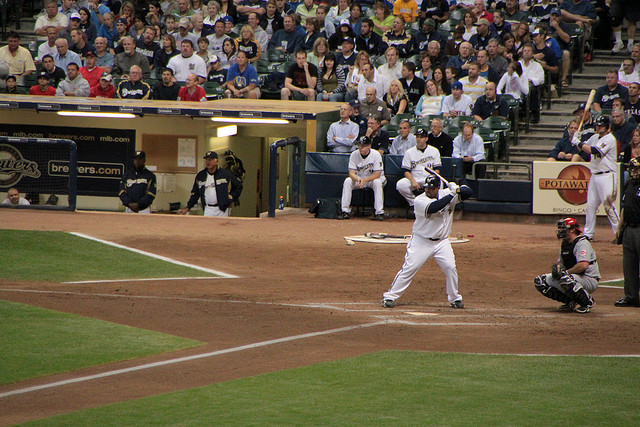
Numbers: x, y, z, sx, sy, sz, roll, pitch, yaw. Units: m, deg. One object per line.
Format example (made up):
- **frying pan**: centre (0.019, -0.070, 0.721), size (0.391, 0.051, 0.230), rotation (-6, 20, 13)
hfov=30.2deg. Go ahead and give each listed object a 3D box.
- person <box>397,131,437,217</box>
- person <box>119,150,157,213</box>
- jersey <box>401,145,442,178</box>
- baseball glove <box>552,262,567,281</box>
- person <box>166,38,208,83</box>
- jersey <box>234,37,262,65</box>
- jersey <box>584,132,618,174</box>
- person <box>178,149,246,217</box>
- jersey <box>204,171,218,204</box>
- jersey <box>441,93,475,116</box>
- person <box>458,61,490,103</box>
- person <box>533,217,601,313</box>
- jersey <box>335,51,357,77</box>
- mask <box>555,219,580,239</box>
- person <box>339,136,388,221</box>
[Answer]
- **person**: centre (2.507, -1.014, 29.267), size (1.180, 1.945, 1.062), rotation (1, 17, 11)
- **person**: centre (-4.582, -0.790, 29.937), size (0.861, 1.511, 0.371), rotation (2, 3, -4)
- **jersey**: centre (2.569, -1.280, 29.354), size (1.070, 0.790, 0.407), rotation (-1, 13, 12)
- **baseball glove**: centre (4.725, 1.160, 23.420), size (0.311, 0.288, 0.241), rotation (-23, 27, 16)
- **person**: centre (-3.709, -4.248, 33.259), size (0.765, 1.200, 1.219), rotation (4, 3, 42)
- **jersey**: centre (-2.071, -4.666, 34.530), size (0.968, 0.836, 0.471), rotation (10, 31, 24)
- **jersey**: centre (6.707, -1.402, 27.442), size (0.884, 1.171, 1.135), rotation (0, 1, -2)
- **person**: centre (-2.594, -0.721, 29.623), size (1.283, 1.574, 0.529), rotation (1, 3, -5)
- **jersey**: centre (-2.716, -0.606, 29.663), size (0.316, 0.753, 0.203), rotation (2, 3, -3)
- **jersey**: centre (3.689, -2.856, 31.452), size (1.043, 0.745, 0.560), rotation (4, 8, 24)
- **person**: centre (4.121, -3.479, 31.497), size (0.610, 1.115, 0.892), rotation (0, 3, -35)
- **person**: centre (5.007, 1.039, 23.619), size (1.110, 1.852, 0.764), rotation (0, 3, -38)
- **jersey**: centre (0.670, -4.192, 33.299), size (0.642, 0.794, 0.720), rotation (1, 1, 18)
- **mask**: centre (4.929, 0.337, 23.680), size (0.456, 0.341, 0.326), rotation (2, -1, -4)
- **person**: centre (1.099, -0.858, 29.710), size (1.079, 2.066, 0.477), rotation (2, 3, -1)
